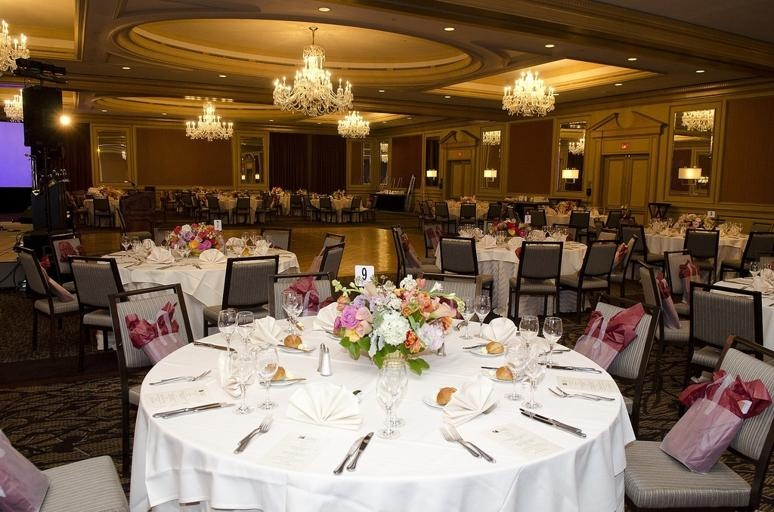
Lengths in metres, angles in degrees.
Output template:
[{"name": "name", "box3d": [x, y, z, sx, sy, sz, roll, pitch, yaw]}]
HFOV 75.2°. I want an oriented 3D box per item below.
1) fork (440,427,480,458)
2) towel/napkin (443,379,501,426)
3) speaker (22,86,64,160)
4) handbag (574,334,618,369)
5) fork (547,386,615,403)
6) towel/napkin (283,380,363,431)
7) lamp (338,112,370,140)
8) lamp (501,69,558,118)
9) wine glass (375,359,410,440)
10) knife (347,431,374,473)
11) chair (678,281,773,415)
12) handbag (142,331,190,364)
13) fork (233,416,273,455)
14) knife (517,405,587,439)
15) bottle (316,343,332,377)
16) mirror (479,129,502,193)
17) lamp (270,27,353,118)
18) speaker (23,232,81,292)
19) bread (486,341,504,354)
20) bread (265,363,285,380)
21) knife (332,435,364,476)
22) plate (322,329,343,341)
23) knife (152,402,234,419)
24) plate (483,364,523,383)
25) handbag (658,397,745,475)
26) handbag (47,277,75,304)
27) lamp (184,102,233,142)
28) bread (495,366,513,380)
[{"name": "fork", "box3d": [0.349, 0.919, 2.505, 0.063, 0.043, 0.271, -14, 17, -17]}, {"name": "towel/napkin", "box3d": [0.449, 0.772, 2.722, 0.335, 0.193, 0.136, -2, 8, -26]}, {"name": "speaker", "box3d": [-5.845, -2.318, 8.598, 0.557, 1.205, 0.309, -5, 10, -38]}, {"name": "handbag", "box3d": [1.533, 0.649, 3.712, 0.262, 0.265, 0.133, 22, 36, 35]}, {"name": "fork", "box3d": [1.108, 0.800, 2.890, 0.225, 0.037, 0.035, 4, 29, 18]}, {"name": "towel/napkin", "box3d": [-0.329, 0.777, 2.637, 0.393, 0.199, 0.190, 1, 7, -4]}, {"name": "lamp", "box3d": [-1.090, -4.281, 16.012, 0.813, 0.838, 0.866, -1, 8, -15]}, {"name": "lamp", "box3d": [2.915, -3.372, 10.451, 0.912, 0.997, 0.934, 7, 28, 25]}, {"name": "wine glass", "box3d": [0.035, 0.708, 2.671, 0.139, 0.365, 0.438, 1, 7, 3]}, {"name": "knife", "box3d": [-0.125, 0.940, 2.426, 0.041, 0.024, 0.253, 6, 21, 16]}, {"name": "chair", "box3d": [2.964, 0.720, 4.380, 0.697, 1.070, 0.709, -6, 11, -13]}, {"name": "handbag", "box3d": [-1.582, 0.656, 3.581, 0.107, 0.133, 0.188, -29, 4, 38]}, {"name": "fork", "box3d": [-0.654, 0.893, 2.536, 0.052, 0.051, 0.319, 12, 25, 18]}, {"name": "knife", "box3d": [0.864, 0.878, 2.635, 0.415, 0.041, 0.098, 15, 30, 37]}, {"name": "bottle", "box3d": [-0.385, 0.651, 3.097, 0.073, 0.175, 0.177, 1, 0, -12]}, {"name": "mirror", "box3d": [3.749, -3.528, 18.011, 0.182, 2.441, 1.164, -10, 14, -34]}, {"name": "lamp", "box3d": [-1.412, -3.676, 9.678, 1.466, 1.859, 1.522, -4, 23, -16]}, {"name": "speaker", "box3d": [-4.052, 0.128, 6.464, 0.551, 0.602, 0.980, -2, 23, -21]}, {"name": "bread", "box3d": [0.714, 0.613, 3.332, 0.108, 0.067, 0.083, 3, 8, 12]}, {"name": "bread", "box3d": [-0.621, 0.657, 2.838, 0.106, 0.039, 0.123, 2, 5, 2]}, {"name": "knife", "box3d": [-0.183, 0.956, 2.384, 0.044, 0.014, 0.292, 2, 21, 20]}, {"name": "plate", "box3d": [-0.376, 0.547, 3.521, 0.074, 0.073, 0.267, -2, 8, -26]}, {"name": "knife", "box3d": [-1.037, 0.831, 2.702, 0.392, 0.038, 0.056, -1, 8, -20]}, {"name": "plate", "box3d": [0.686, 0.693, 3.021, 0.144, 0.038, 0.159, -1, 6, 2]}, {"name": "handbag", "box3d": [1.800, 1.038, 2.895, 0.313, 0.417, 0.133, 41, 12, 36]}, {"name": "handbag", "box3d": [-3.479, 0.356, 5.412, 0.175, 0.297, 0.252, 0, 7, -6]}, {"name": "lamp", "box3d": [-6.346, -4.907, 17.975, 1.483, 1.409, 1.561, 1, 12, -6]}, {"name": "bread", "box3d": [0.703, 0.710, 3.029, 0.103, 0.069, 0.108, -7, 18, 16]}]
